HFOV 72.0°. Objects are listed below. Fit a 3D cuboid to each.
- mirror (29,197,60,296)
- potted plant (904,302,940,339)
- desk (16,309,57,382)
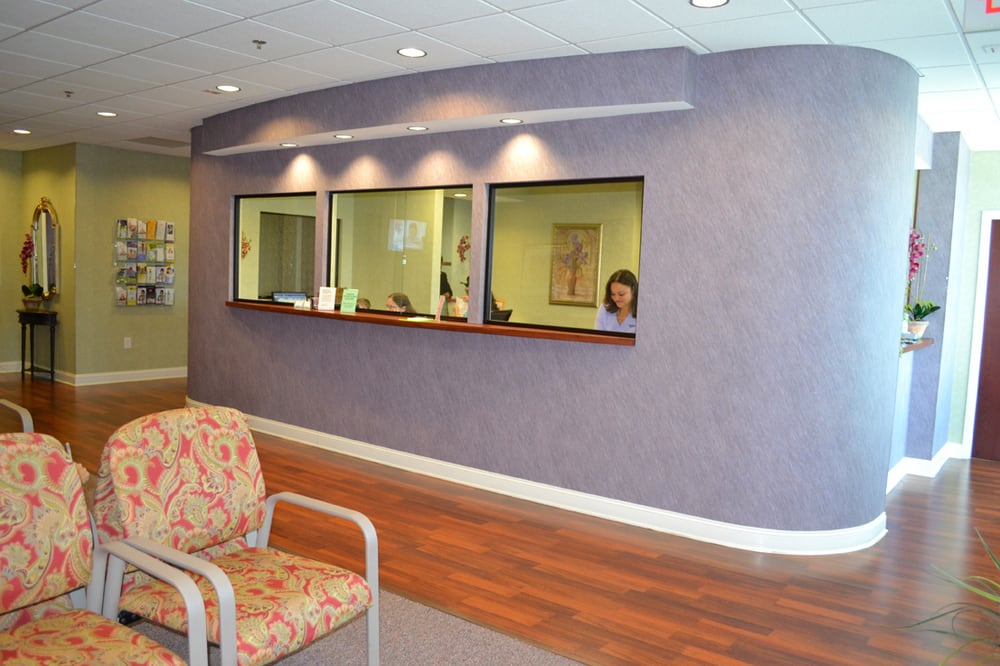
[{"bbox_3d":[-6.132,-1.160,9.252,0.805,1.289,0.249,12,15,43],"label":"mirror"},{"bbox_3d":[3.893,-0.121,6.390,0.401,0.274,0.406,6,-4,-34],"label":"potted plant"},{"bbox_3d":[-6.321,0.161,9.391,0.975,1.118,0.359,-2,-2,36],"label":"desk"}]
